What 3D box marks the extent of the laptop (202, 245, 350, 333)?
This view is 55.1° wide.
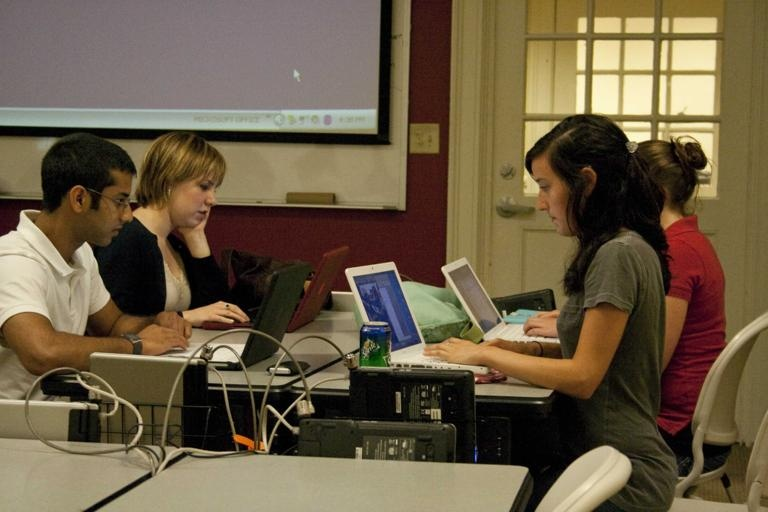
[{"bbox_3d":[-0.388,0.074,3.160,0.388,0.284,0.442,-1,8,16],"label":"laptop"}]

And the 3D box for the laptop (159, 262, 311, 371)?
[{"bbox_3d":[-0.475,0.153,2.516,0.321,0.259,0.406,1,5,11],"label":"laptop"}]

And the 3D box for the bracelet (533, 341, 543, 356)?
[{"bbox_3d":[0.535,0.330,2.573,0.016,0.062,0.063,-7,-18,0],"label":"bracelet"}]

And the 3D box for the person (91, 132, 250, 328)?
[{"bbox_3d":[-0.951,-0.117,3.294,0.749,0.866,0.730,2,2,8],"label":"person"}]

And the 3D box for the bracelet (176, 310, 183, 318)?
[{"bbox_3d":[-0.839,0.241,3.027,0.030,0.019,0.042,3,-1,6],"label":"bracelet"}]

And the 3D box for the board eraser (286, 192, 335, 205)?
[{"bbox_3d":[-0.404,-0.318,4.052,0.269,0.078,0.074,-1,4,16],"label":"board eraser"}]

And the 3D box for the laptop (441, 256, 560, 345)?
[{"bbox_3d":[0.417,0.174,2.882,0.339,0.261,0.336,-1,4,17],"label":"laptop"}]

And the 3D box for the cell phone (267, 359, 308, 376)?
[{"bbox_3d":[-0.307,0.368,2.375,0.089,0.031,0.153,0,-3,10],"label":"cell phone"}]

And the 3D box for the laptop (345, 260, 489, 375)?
[{"bbox_3d":[0.101,0.179,2.577,0.382,0.309,0.373,4,5,21],"label":"laptop"}]
